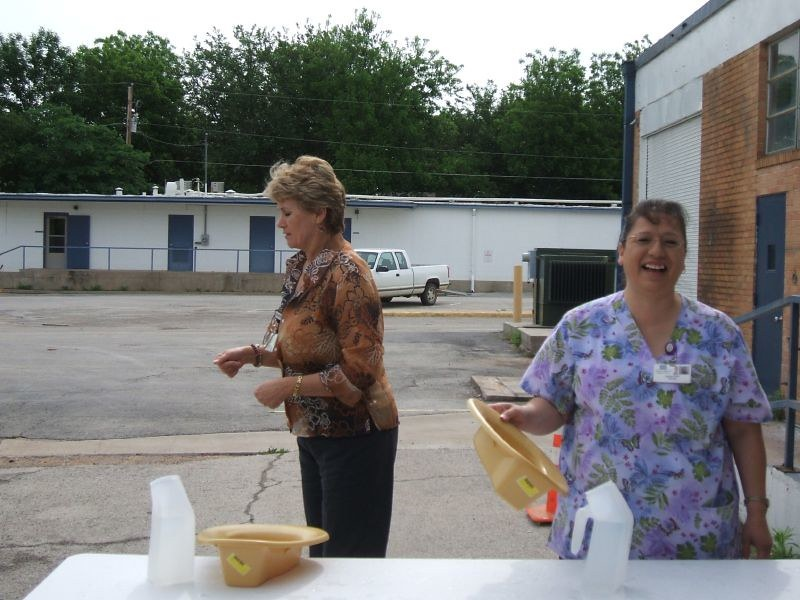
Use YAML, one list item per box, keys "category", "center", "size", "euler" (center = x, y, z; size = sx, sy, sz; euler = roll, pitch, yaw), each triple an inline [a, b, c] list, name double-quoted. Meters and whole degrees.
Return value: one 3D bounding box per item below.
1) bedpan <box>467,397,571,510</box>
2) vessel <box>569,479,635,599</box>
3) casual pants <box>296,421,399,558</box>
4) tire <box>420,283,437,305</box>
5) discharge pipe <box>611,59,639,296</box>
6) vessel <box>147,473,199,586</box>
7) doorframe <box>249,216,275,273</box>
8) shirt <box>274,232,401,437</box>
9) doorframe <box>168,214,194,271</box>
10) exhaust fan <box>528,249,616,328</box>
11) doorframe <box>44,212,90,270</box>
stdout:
- category: "bedpan"
  center: [0.406, 0.564, 2.664]
  size: [0.309, 0.396, 0.435]
  euler: [-1, 4, -3]
- category: "vessel"
  center: [0.650, 0.747, 2.358]
  size: [0.146, 0.318, 0.124]
  euler: [0, 4, 10]
- category: "casual pants"
  center: [-0.219, 0.807, 3.199]
  size: [0.414, 0.513, 0.279]
  euler: [-1, 4, -5]
- category: "tire"
  center: [0.930, -0.213, 24.918]
  size: [0.233, 0.673, 0.671]
  euler: [8, 11, 41]
- category: "discharge pipe"
  center: [3.968, -2.421, 13.172]
  size: [0.394, 4.395, 0.346]
  euler: [21, -27, -23]
- category: "vessel"
  center: [-0.725, 0.713, 2.367]
  size: [0.141, 0.341, 0.153]
  euler: [-2, 4, -19]
- category: "doorframe"
  center: [-5.990, -2.301, 32.663]
  size: [1.160, 2.748, 0.126]
  euler: [6, 18, 8]
- category: "shirt"
  center: [-0.270, 0.166, 3.533]
  size: [0.654, 0.942, 0.975]
  euler: [2, 0, -24]
- category: "doorframe"
  center: [-9.512, -2.445, 32.637]
  size: [1.102, 2.610, 0.124]
  euler: [-2, 26, -22]
- category: "exhaust fan"
  center: [3.271, -0.281, 14.363]
  size: [1.590, 1.419, 1.125]
  euler: [-1, 6, -3]
- category: "doorframe"
  center: [-14.381, -2.640, 32.584]
  size: [2.466, 3.310, 0.428]
  euler: [1, 1, 2]
